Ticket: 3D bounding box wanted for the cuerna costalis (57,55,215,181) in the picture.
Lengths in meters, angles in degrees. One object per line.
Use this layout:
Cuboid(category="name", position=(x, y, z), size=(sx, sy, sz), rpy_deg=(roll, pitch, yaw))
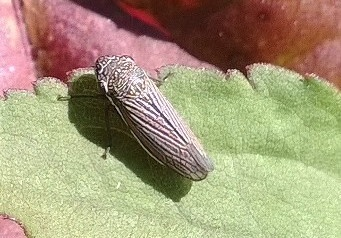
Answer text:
Cuboid(category="cuerna costalis", position=(-0.238, 0.032, 3.496), size=(1.490, 0.426, 0.678), rpy_deg=(38, 56, 21))
